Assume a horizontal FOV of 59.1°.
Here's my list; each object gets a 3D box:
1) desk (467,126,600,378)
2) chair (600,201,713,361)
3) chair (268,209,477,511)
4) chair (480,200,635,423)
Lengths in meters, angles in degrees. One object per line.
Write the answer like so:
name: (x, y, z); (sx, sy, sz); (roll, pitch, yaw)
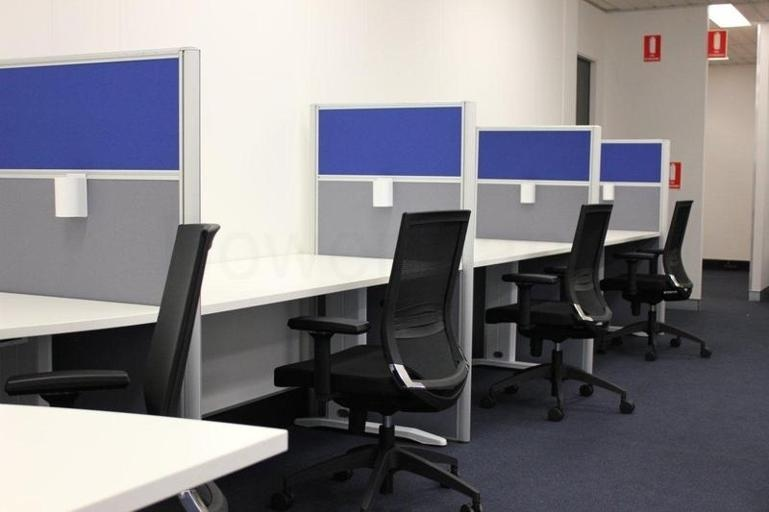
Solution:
desk: (1.117, -0.135, 5.478); (1.181, 1.819, 1.126); (-2, 11, -13)
chair: (2.526, 0.181, 6.545); (1.290, 1.836, 1.281); (1, 1, 25)
chair: (0.039, 0.427, 3.717); (1.201, 1.763, 1.233); (2, 2, 27)
chair: (1.190, 0.311, 4.994); (1.236, 1.726, 1.265); (2, 2, 28)
